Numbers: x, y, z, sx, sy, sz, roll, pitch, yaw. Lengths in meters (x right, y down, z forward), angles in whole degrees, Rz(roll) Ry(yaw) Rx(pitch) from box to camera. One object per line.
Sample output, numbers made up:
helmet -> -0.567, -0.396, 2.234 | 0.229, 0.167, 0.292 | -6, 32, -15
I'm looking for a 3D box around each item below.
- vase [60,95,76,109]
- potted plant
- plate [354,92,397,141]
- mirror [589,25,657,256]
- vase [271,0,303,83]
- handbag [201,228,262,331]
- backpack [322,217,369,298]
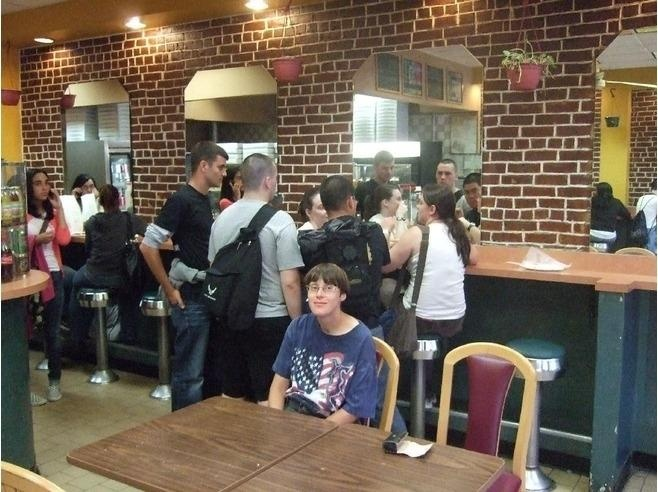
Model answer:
vase -> -3.058, -1.689, 6.680 | 0.142, 0.117, 0.148 | 1, 1, 20
potted plant -> 1.467, -1.495, 4.156 | 0.396, 0.697, 0.509 | 2, 10, 17
plate -> 0.426, -1.165, 5.067 | 0.392, 0.413, 0.218 | 2, 4, 21
mirror -> 2.103, -0.746, 4.033 | 0.436, 1.564, 0.278 | 4, 10, 25
vase -> -0.371, -1.842, 5.093 | 0.232, 0.745, 0.661 | -1, 10, -2
handbag -> -0.569, 0.192, 3.291 | 0.335, 0.574, 0.145 | 2, 10, 14
backpack -> 0.107, 0.077, 3.327 | 0.265, 0.468, 0.121 | -1, 9, -1
